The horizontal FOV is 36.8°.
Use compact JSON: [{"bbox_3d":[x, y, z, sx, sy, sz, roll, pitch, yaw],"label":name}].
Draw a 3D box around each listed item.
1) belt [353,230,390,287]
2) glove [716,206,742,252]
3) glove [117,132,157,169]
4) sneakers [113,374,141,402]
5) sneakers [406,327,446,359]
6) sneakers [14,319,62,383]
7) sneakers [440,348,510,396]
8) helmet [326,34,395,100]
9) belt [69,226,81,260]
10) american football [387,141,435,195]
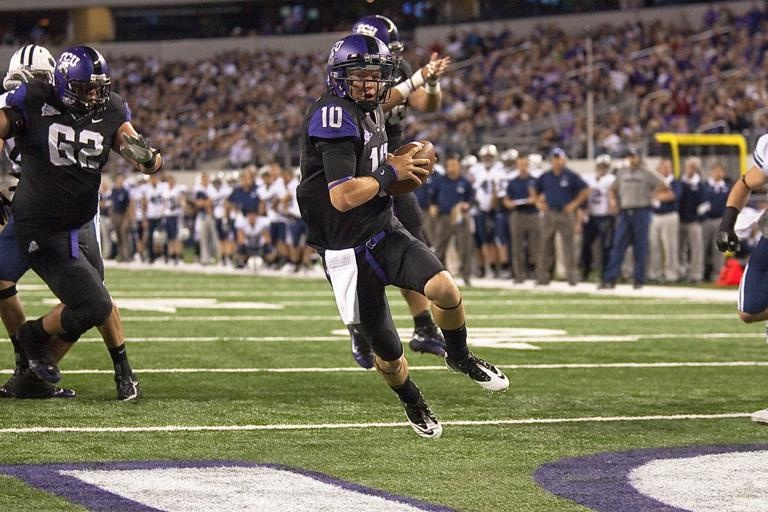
[{"bbox_3d":[-0.088,0.007,6.879,0.209,0.272,0.069,-29,-1,-22],"label":"belt"},{"bbox_3d":[2.171,-0.175,7.339,0.135,0.279,0.251,1,9,18],"label":"glove"},{"bbox_3d":[-1.613,-0.670,7.479,0.240,0.239,0.222,-3,8,-12],"label":"glove"},{"bbox_3d":[-1.756,0.871,7.780,0.153,0.151,0.245,-3,8,-12],"label":"sneakers"},{"bbox_3d":[0.330,0.650,8.765,0.392,0.187,0.128,8,3,11],"label":"sneakers"},{"bbox_3d":[-2.330,0.622,7.694,0.248,0.423,0.142,-4,9,-17],"label":"sneakers"},{"bbox_3d":[0.573,0.706,7.114,0.512,0.202,0.174,22,39,-10],"label":"sneakers"},{"bbox_3d":[-0.200,-1.129,7.000,0.364,0.317,0.420,-3,9,-21],"label":"helmet"},{"bbox_3d":[-2.069,-0.083,7.622,0.056,0.179,0.152,-4,9,-13],"label":"belt"},{"bbox_3d":[0.129,-0.526,6.954,0.342,0.198,0.243,-28,3,-7],"label":"american football"}]
